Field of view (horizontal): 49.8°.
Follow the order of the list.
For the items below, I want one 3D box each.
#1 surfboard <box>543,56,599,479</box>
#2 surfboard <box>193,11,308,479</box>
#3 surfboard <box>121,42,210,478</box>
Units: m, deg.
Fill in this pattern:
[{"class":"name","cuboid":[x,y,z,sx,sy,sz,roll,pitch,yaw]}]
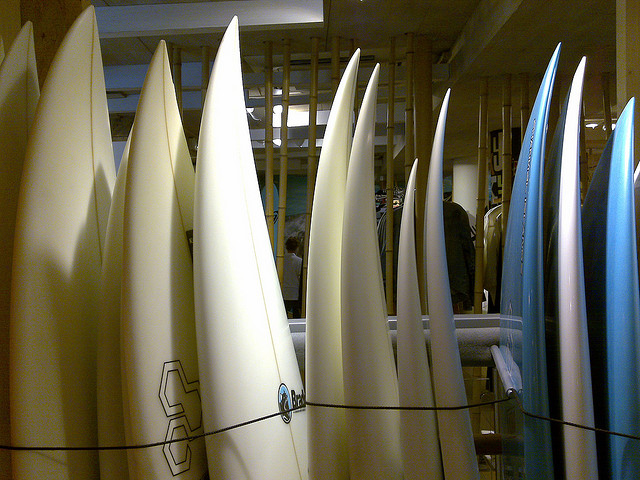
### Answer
[{"class":"surfboard","cuboid":[0.315,0.039,0.873,0.061,0.507,0.215,0,-1,19]},{"class":"surfboard","cuboid":[-0.073,0.014,0.849,0.092,0.565,0.170,0,-1,23]},{"class":"surfboard","cuboid":[-0.183,0.027,0.819,0.094,0.526,0.066,0,-1,-7]}]
